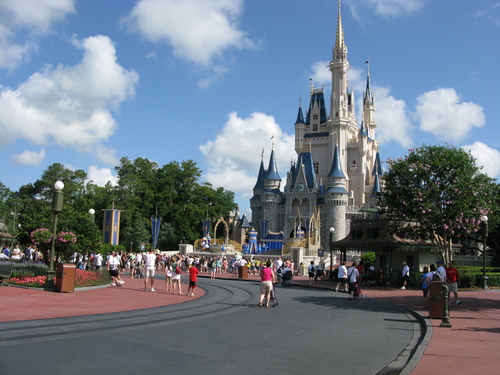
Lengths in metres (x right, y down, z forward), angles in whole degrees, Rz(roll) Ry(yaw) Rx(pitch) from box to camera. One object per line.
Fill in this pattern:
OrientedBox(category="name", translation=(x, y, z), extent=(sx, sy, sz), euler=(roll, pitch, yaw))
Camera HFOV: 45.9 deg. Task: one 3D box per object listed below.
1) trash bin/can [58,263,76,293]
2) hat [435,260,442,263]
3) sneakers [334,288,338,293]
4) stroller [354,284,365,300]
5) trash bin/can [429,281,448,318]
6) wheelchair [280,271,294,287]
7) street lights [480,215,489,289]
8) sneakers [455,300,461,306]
OrientedBox(category="trash bin/can", translation=(-8.116, 4.003, 26.218), extent=(0.680, 1.260, 0.416), euler=(4, -9, -26))
OrientedBox(category="hat", translation=(7.859, 3.104, 24.636), extent=(0.247, 0.134, 0.165), euler=(-7, -5, 32))
OrientedBox(category="sneakers", translation=(4.480, 5.356, 30.792), extent=(0.126, 0.147, 0.374), euler=(1, -42, 21))
OrientedBox(category="stroller", translation=(5.046, 4.832, 27.516), extent=(0.376, 0.629, 0.914), euler=(-1, -9, 12))
OrientedBox(category="trash bin/can", translation=(6.703, 3.924, 21.089), extent=(0.649, 1.421, 0.752), euler=(-1, 10, 12))
OrientedBox(category="wheelchair", translation=(2.064, 5.067, 33.225), extent=(0.783, 1.123, 0.890), euler=(1, -2, -5))
OrientedBox(category="street lights", translation=(12.937, 3.520, 32.658), extent=(0.537, 4.048, 0.642), euler=(6, -7, -40))
OrientedBox(category="sneakers", translation=(8.627, 4.749, 24.500), extent=(0.124, 0.166, 0.360), euler=(-3, -18, 1))
